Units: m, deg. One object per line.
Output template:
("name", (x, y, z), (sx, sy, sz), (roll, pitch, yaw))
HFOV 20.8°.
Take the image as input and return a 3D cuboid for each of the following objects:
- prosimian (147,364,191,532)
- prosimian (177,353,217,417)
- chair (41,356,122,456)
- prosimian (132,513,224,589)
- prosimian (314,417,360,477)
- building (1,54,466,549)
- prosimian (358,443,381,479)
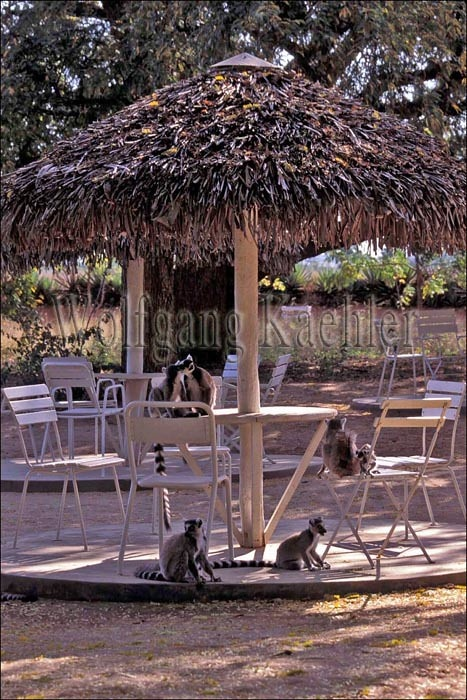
("prosimian", (-0.385, 0.468, 6.908), (0.186, 1.016, 0.284), (6, 1, 23))
("prosimian", (-0.213, 0.186, 6.756), (0.179, 0.318, 0.158), (0, 6, -22))
("chair", (-1.116, 0.509, 10.489), (0.488, 0.751, 0.390), (15, 3, -8))
("prosimian", (-0.291, 1.002, 6.365), (0.422, 0.349, 0.202), (-1, 1, 25))
("prosimian", (0.564, 0.529, 6.830), (0.217, 0.336, 0.259), (-2, 6, 2))
("building", (-0.120, -0.426, 7.614), (2.607, 2.589, 2.668), (0, -3, -31))
("prosimian", (0.721, 0.604, 6.798), (0.106, 0.164, 0.073), (-11, 3, -19))
